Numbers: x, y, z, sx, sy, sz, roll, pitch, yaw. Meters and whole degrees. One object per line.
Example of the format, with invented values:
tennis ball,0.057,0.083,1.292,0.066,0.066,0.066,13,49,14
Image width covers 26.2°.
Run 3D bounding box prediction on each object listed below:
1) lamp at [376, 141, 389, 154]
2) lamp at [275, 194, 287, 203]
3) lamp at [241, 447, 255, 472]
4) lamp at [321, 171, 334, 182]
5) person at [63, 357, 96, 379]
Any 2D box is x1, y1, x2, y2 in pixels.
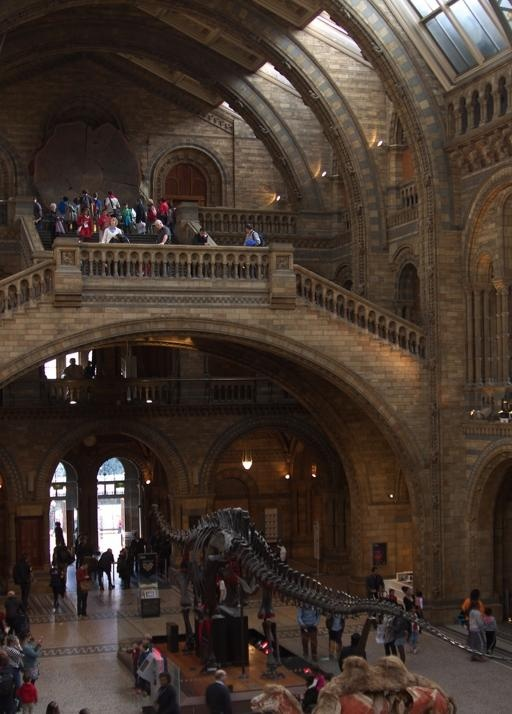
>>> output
lamp,2.958,-4.837,25.427,0.291,0.270,0.174,5,7,2
lamp,0.758,-4.501,31.389,0.285,0.247,0.072,-1,-8,7
lamp,-0.212,2.926,30.779,0.365,0.650,1.028,-1,-9,-1
lamp,1.960,-4.728,28.816,0.178,0.320,0.435,6,-11,-38
person,-4.532,0.343,28.520,0.770,0.632,1.069,3,-9,-24
